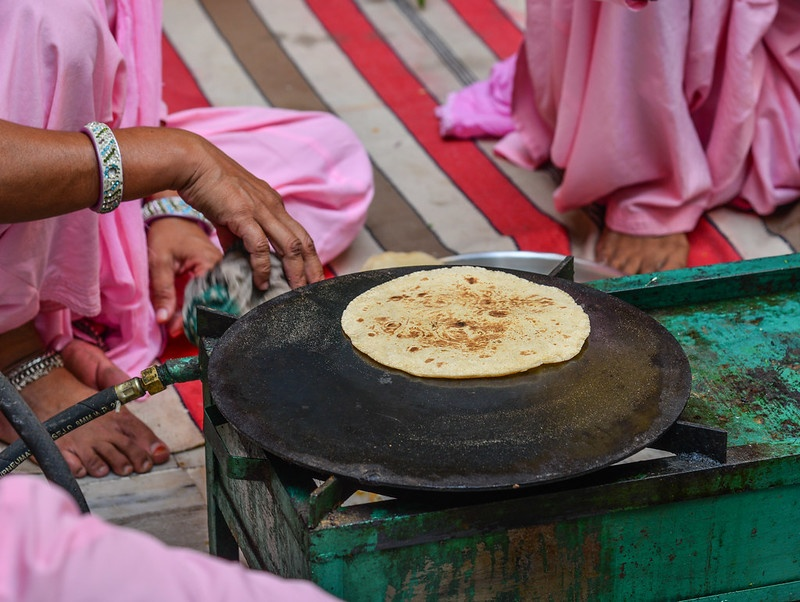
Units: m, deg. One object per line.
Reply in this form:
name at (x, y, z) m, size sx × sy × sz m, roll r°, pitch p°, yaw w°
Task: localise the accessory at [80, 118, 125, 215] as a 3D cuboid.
accessory at (-0.734, -0.335, 1.982) m, size 0.051 × 0.232 × 0.207 m, roll -10°, pitch 40°, yaw -20°
